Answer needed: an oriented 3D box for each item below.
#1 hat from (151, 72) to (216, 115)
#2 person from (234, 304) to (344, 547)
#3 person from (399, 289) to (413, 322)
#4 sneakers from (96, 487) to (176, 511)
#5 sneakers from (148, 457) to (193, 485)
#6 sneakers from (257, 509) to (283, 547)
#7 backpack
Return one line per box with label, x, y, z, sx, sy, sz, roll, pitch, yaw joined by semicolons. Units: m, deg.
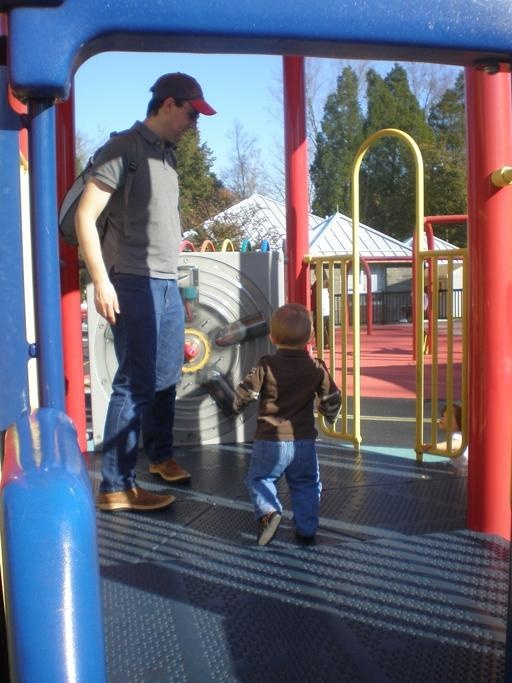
hat;-0.302;-0.997;2.681;0.255;0.168;0.175;2;4;-18
person;0.143;0.283;2.519;0.433;0.848;0.431;-1;3;-11
person;5.367;-1.272;23.869;0.382;1.031;2.196;0;3;12
sneakers;-0.501;0.658;2.744;0.283;0.140;0.118;0;-2;-11
sneakers;-0.413;0.612;3.238;0.091;0.100;0.217;-1;3;-38
sneakers;0.044;0.654;2.335;0.049;0.169;0.065;13;11;-31
backpack;-0.630;-0.642;2.670;0.312;0.458;0.554;-2;3;-18
